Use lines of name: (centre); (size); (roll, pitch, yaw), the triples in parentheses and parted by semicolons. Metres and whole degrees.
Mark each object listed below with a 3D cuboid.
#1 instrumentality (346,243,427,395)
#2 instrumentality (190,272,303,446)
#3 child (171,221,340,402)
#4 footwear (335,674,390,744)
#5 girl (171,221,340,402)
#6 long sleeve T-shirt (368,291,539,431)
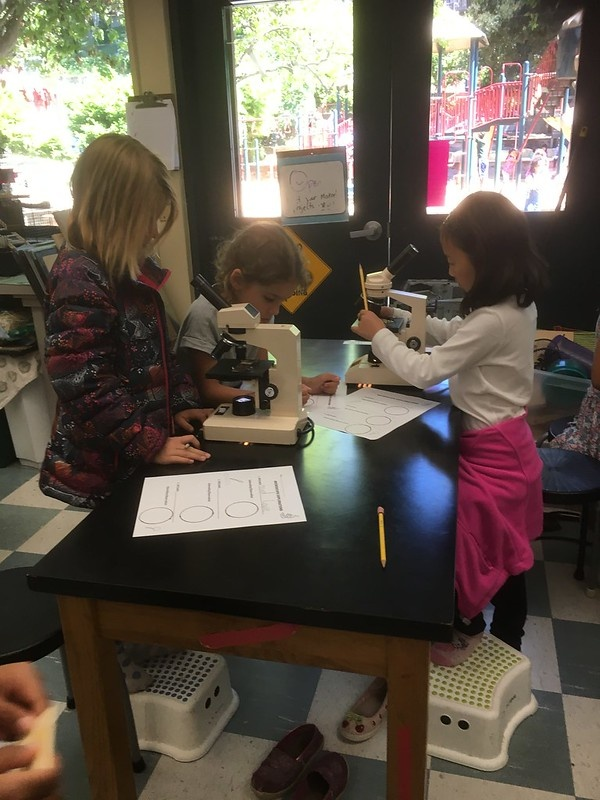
instrumentality: (0.241, -0.233, 1.649); (0.215, 0.350, 0.171); (1, 17, 8)
instrumentality: (-0.035, -0.099, 1.347); (0.298, 0.375, 0.229); (6, 25, 8)
child: (-0.138, -0.213, 1.634); (0.472, 0.499, 0.385); (14, 12, 27)
footwear: (0.153, 0.734, 1.417); (0.080, 0.072, 0.222); (0, 6, 23)
girl: (-0.152, -0.230, 1.648); (0.451, 0.499, 0.355); (20, 23, 35)
long sleeve T-shirt: (0.392, -0.113, 1.519); (0.410, 0.357, 0.396); (2, 11, -12)
